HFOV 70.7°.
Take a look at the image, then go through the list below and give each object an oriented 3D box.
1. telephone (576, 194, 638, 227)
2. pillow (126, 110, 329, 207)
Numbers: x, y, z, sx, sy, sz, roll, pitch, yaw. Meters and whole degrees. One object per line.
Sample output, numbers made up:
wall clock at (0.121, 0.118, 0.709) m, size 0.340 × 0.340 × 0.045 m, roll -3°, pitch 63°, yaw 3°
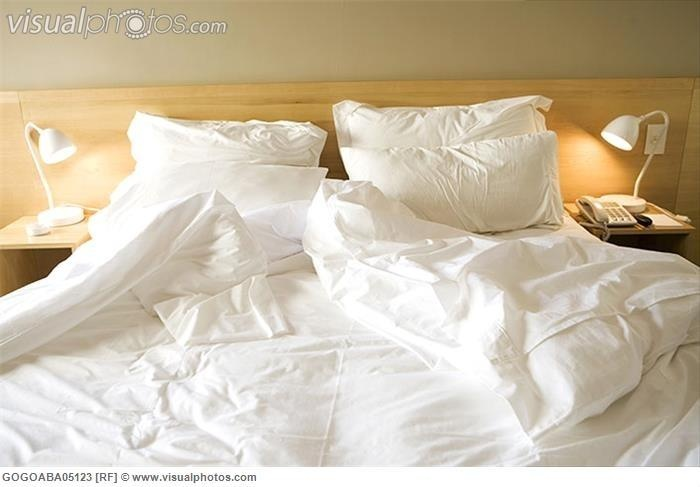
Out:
telephone at (1.400, -0.188, 2.715) m, size 0.241 × 0.092 × 0.285 m, roll -1°, pitch 27°, yaw -3°
pillow at (-0.647, -0.458, 2.542) m, size 0.753 × 0.650 × 0.188 m, roll 2°, pitch -4°, yaw -9°
